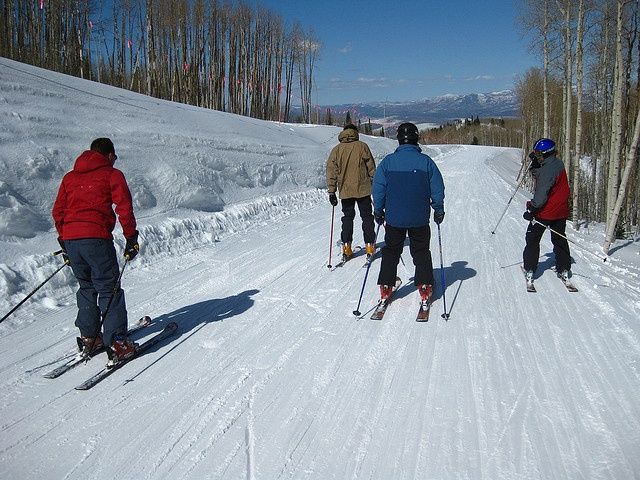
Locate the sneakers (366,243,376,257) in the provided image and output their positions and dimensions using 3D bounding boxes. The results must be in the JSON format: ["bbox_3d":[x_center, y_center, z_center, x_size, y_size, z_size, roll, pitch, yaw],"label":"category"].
[{"bbox_3d":[0.941,0.123,8.323,0.098,0.231,0.322,3,39,16],"label":"sneakers"}]

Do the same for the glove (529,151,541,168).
[{"bbox_3d":[3.516,-1.298,7.349,0.128,0.288,0.190,-9,12,-12],"label":"glove"}]

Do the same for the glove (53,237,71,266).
[{"bbox_3d":[-3.447,0.169,5.956,0.064,0.395,0.210,9,41,-23],"label":"glove"}]

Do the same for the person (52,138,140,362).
[{"bbox_3d":[-2.905,0.148,5.767,0.808,2.735,1.026,-13,20,-32],"label":"person"}]

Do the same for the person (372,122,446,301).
[{"bbox_3d":[1.312,-0.392,6.780,1.072,2.660,0.724,2,17,15],"label":"person"}]

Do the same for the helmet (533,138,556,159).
[{"bbox_3d":[3.644,-1.509,7.234,0.333,0.340,0.270,16,27,25],"label":"helmet"}]

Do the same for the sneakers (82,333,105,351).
[{"bbox_3d":[-3.037,1.361,5.990,0.117,0.174,0.380,2,8,0],"label":"sneakers"}]

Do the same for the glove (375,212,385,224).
[{"bbox_3d":[0.945,-0.343,7.035,0.130,0.169,0.177,3,18,10],"label":"glove"}]

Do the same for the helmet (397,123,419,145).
[{"bbox_3d":[1.316,-1.587,6.679,0.355,0.332,0.322,-2,17,-1],"label":"helmet"}]

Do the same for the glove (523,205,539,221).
[{"bbox_3d":[3.419,-0.442,7.296,0.194,0.284,0.104,13,11,-33],"label":"glove"}]

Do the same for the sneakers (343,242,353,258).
[{"bbox_3d":[0.536,0.208,8.860,0.230,0.241,0.387,-2,2,3],"label":"sneakers"}]
